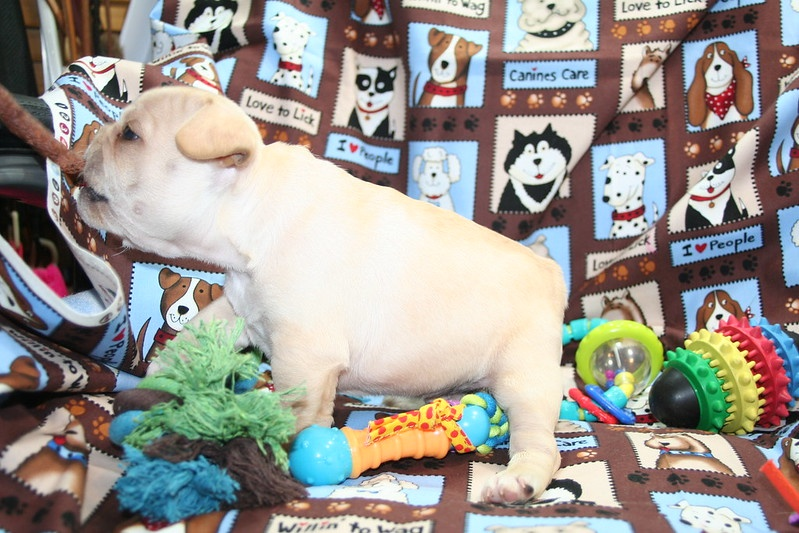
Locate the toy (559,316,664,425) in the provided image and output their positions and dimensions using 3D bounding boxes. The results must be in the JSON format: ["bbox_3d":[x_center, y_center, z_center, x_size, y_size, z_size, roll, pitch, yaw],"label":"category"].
[{"bbox_3d":[0.734,0.342,2.559,0.253,0.407,0.153,-8,-18,11],"label":"toy"}]

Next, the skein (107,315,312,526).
[{"bbox_3d":[-0.507,0.383,1.935,0.426,0.502,0.208,-2,-13,-28],"label":"skein"}]

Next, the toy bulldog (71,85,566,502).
[{"bbox_3d":[-0.233,0.132,2.439,1.545,1.156,0.860,11,-9,-14],"label":"toy bulldog"}]

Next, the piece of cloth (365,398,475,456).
[{"bbox_3d":[0.060,0.443,2.131,0.234,0.115,0.151,-2,31,-7],"label":"piece of cloth"}]
